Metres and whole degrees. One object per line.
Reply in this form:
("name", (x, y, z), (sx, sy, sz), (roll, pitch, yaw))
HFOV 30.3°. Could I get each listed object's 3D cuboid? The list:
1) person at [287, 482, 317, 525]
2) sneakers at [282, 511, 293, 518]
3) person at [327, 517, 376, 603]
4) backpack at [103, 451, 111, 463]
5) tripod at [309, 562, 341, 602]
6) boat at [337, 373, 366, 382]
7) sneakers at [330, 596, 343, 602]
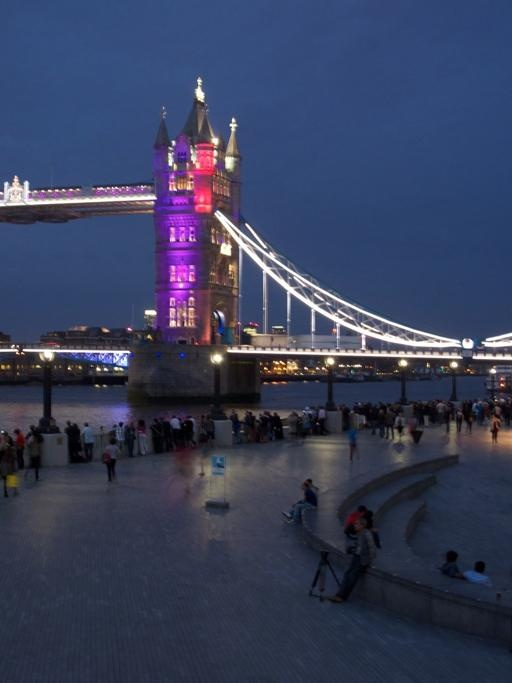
("person", (0.713, 2.515, 15.056), (0.470, 0.670, 0.807), (2, 1, 22))
("sneakers", (0.477, 2.774, 15.068), (0.141, 0.099, 0.398), (2, 1, -3))
("person", (1.201, 2.623, 11.708), (0.496, 1.028, 1.314), (2, 1, 8))
("backpack", (-3.034, 2.350, 19.190), (0.178, 0.220, 0.149), (2, 1, 11))
("tripod", (0.803, 2.908, 11.520), (0.408, 0.570, 0.430), (1, -18, 6))
("boat", (18.099, 7.308, 185.388), (4.792, 1.698, 14.889), (2, 1, 3))
("sneakers", (0.926, 3.043, 11.129), (0.157, 0.074, 0.054), (2, 0, 29))
